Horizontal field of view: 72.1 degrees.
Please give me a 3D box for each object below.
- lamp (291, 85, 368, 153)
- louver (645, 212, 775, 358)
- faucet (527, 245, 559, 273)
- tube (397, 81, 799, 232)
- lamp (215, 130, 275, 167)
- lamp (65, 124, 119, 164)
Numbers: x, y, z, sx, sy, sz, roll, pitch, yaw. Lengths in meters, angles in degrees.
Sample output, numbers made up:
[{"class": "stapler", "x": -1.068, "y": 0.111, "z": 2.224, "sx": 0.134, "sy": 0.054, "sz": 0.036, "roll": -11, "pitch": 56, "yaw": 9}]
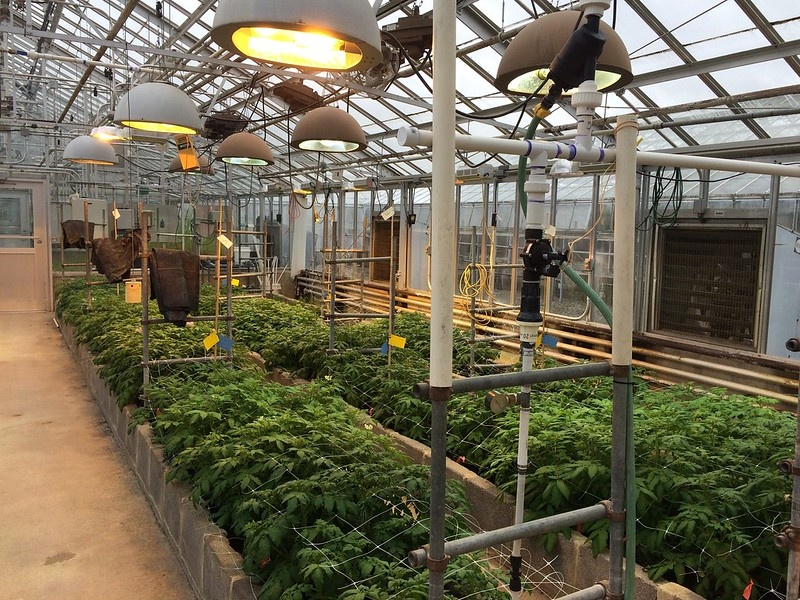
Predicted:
[{"class": "lamp", "x": -0.656, "y": -1.581, "z": 5.007, "sx": 0.685, "sy": 0.382, "sz": 0.506, "roll": 0, "pitch": 7, "yaw": -8}, {"class": "louver", "x": 4.259, "y": -0.216, "z": 7.475, "sx": 0.297, "sy": 2.320, "sz": 1.780, "roll": 4, "pitch": 2, "yaw": -34}, {"class": "faucet", "x": 0.597, "y": -0.170, "z": 2.331, "sx": 0.105, "sy": 0.124, "sz": 0.124, "roll": -15, "pitch": 12, "yaw": -14}, {"class": "tube", "x": 0.993, "y": -0.608, "z": 2.457, "sx": 2.180, "sy": 0.571, "sz": 0.411, "roll": -3, "pitch": 7, "yaw": -29}, {"class": "lamp", "x": -1.888, "y": -1.822, "z": 6.798, "sx": 0.564, "sy": 0.341, "sz": 0.588, "roll": 0, "pitch": 3, "yaw": -1}, {"class": "lamp", "x": -4.871, "y": -2.353, "z": 8.529, "sx": 0.568, "sy": 0.338, "sz": 0.591, "roll": 3, "pitch": 5, "yaw": 36}]
